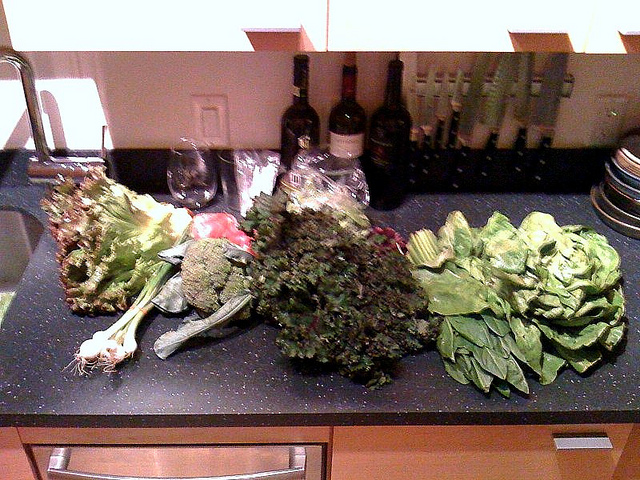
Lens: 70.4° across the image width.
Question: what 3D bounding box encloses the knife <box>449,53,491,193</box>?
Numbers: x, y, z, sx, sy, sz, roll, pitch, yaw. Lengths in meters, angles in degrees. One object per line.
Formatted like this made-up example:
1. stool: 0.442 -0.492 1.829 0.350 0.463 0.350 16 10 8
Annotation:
1. knife: 0.438 -0.399 1.333 0.077 0.028 0.611 14 47 18

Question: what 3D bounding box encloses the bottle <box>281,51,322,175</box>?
1. bottle: -0.061 -0.358 1.319 0.123 0.321 0.094 -4 38 -4

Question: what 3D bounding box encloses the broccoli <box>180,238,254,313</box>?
1. broccoli: -0.252 0.091 1.083 0.196 0.054 0.202 17 58 1

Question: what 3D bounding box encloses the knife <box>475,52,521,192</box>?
1. knife: 0.530 -0.352 1.418 0.063 0.448 0.022 17 43 5

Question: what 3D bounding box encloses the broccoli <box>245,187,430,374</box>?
1. broccoli: 0.032 0.104 0.997 0.441 0.322 0.256 7 38 9

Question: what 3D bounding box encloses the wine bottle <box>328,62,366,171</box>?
1. wine bottle: 0.076 -0.383 1.316 0.107 0.242 0.146 -8 38 -9
